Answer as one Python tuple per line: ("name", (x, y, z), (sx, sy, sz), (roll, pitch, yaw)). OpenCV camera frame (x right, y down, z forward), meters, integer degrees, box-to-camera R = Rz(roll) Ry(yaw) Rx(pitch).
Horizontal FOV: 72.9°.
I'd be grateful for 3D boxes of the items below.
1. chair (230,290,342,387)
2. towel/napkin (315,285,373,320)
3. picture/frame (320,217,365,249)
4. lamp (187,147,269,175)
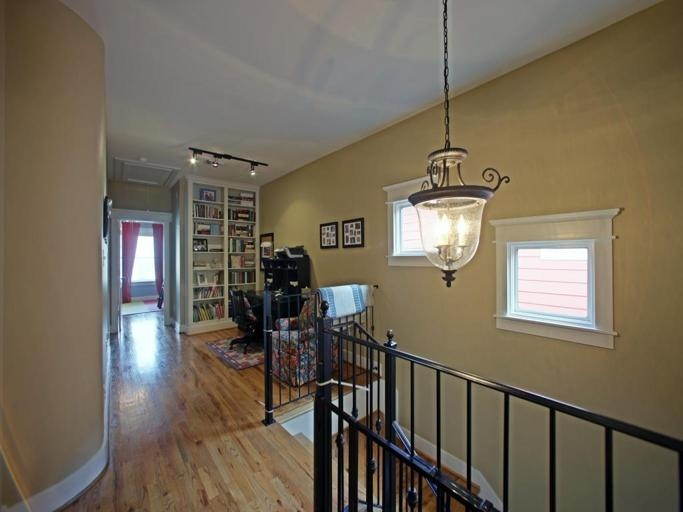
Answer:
("chair", (-0.803, 0.899, 5.409), (0.979, 0.991, 2.078), (-3, 0, -15))
("towel/napkin", (0.058, 0.481, 5.052), (0.204, 0.321, 0.754), (-2, 0, 36))
("picture/frame", (-0.005, -0.273, 5.787), (0.130, 0.348, 0.911), (-3, 0, -31))
("lamp", (-1.513, -1.259, 6.095), (0.989, 0.312, 0.601), (-3, 0, -23))
